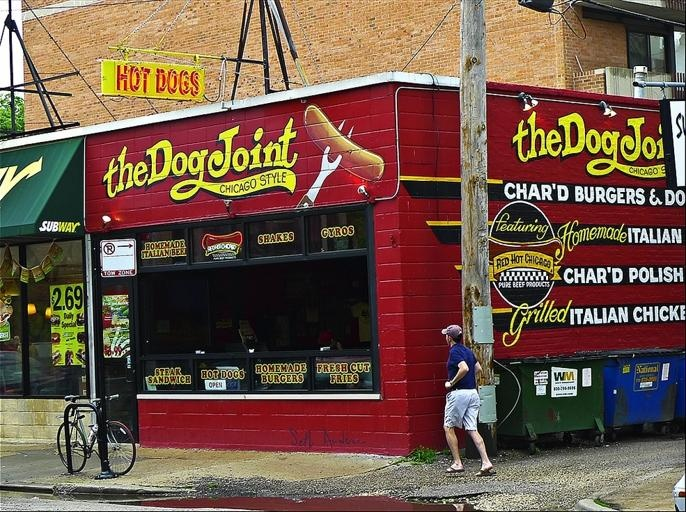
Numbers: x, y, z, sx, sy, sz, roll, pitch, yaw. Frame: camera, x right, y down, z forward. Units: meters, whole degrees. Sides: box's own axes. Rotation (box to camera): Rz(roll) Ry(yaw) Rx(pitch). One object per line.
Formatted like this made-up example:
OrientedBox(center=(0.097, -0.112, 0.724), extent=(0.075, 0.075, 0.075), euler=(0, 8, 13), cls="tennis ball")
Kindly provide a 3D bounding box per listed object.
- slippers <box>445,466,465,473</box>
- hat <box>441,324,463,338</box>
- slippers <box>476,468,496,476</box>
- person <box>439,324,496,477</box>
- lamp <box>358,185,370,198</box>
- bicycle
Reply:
OrientedBox(center=(1.836, 3.495, 17.545), extent=(0.314, 0.092, 0.111), euler=(2, -5, 4), cls="slippers")
OrientedBox(center=(1.815, 1.249, 17.807), extent=(0.315, 0.154, 0.219), euler=(1, 4, 18), cls="hat")
OrientedBox(center=(2.307, 3.467, 17.298), extent=(0.313, 0.080, 0.118), euler=(-8, -5, -20), cls="slippers")
OrientedBox(center=(2.020, 2.342, 17.722), extent=(1.071, 2.367, 0.848), euler=(-4, -9, 35), cls="person")
OrientedBox(center=(0.365, -1.159, 19.568), extent=(0.266, 0.237, 0.136), euler=(1, 6, 45), cls="lamp")
OrientedBox(center=(-4.322, 3.231, 18.977), extent=(1.506, 1.694, 1.549), euler=(6, -3, -32), cls="bicycle")
